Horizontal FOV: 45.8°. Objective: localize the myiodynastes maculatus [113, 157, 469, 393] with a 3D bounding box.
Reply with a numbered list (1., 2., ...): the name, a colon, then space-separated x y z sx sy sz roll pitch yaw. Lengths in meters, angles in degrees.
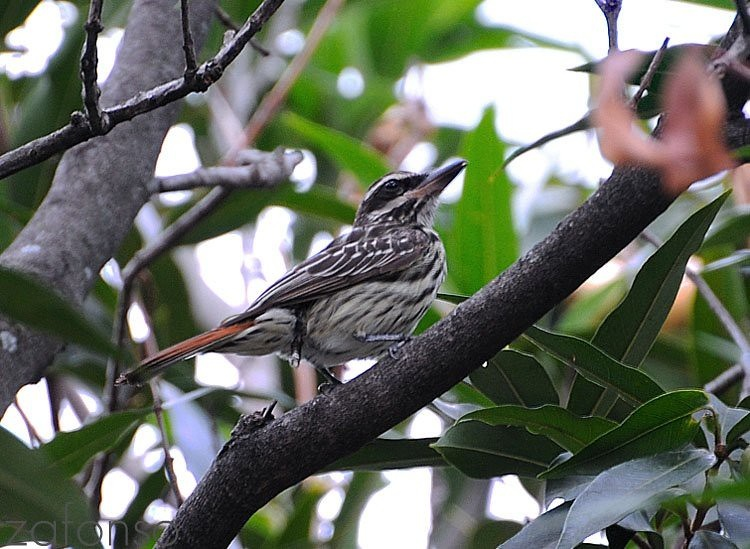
1. myiodynastes maculatus: -0.164 0.013 4.401 1.042 1.713 0.540 7 -50 8
